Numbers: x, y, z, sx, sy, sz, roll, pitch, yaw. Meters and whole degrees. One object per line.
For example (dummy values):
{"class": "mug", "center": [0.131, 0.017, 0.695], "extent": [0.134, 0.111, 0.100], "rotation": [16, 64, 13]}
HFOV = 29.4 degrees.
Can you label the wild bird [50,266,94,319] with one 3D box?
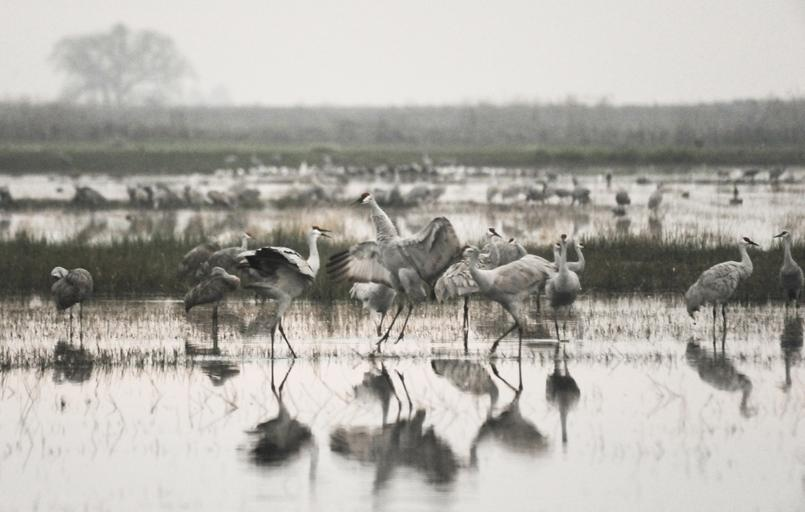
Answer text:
{"class": "wild bird", "center": [-7.652, 0.728, 35.349], "extent": [0.850, 1.108, 1.980], "rotation": [0, 4, -13]}
